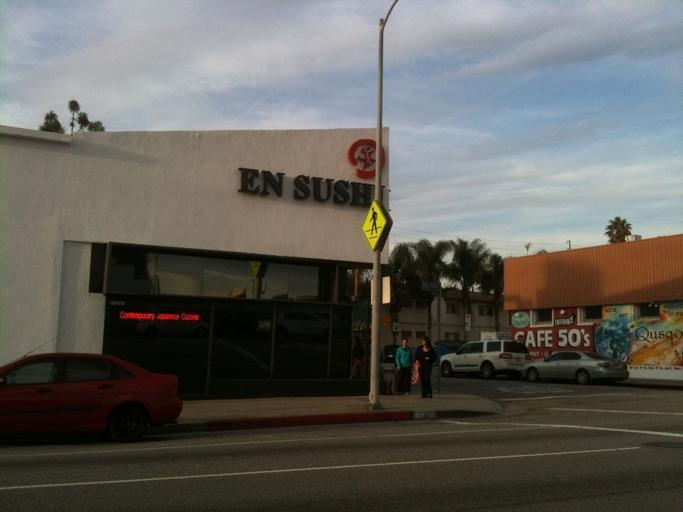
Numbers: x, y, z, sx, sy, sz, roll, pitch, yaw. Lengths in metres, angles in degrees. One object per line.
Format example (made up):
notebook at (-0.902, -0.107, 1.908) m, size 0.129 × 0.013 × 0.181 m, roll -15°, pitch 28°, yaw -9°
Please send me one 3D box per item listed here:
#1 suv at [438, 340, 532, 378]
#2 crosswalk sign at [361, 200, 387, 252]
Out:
suv at (7.495, 5.240, 35.262) m, size 2.552 × 1.975 × 5.217 m, roll 5°, pitch -10°, yaw -38°
crosswalk sign at (0.962, -0.888, 20.756) m, size 0.216 × 1.771 × 1.489 m, roll 6°, pitch -15°, yaw -28°
